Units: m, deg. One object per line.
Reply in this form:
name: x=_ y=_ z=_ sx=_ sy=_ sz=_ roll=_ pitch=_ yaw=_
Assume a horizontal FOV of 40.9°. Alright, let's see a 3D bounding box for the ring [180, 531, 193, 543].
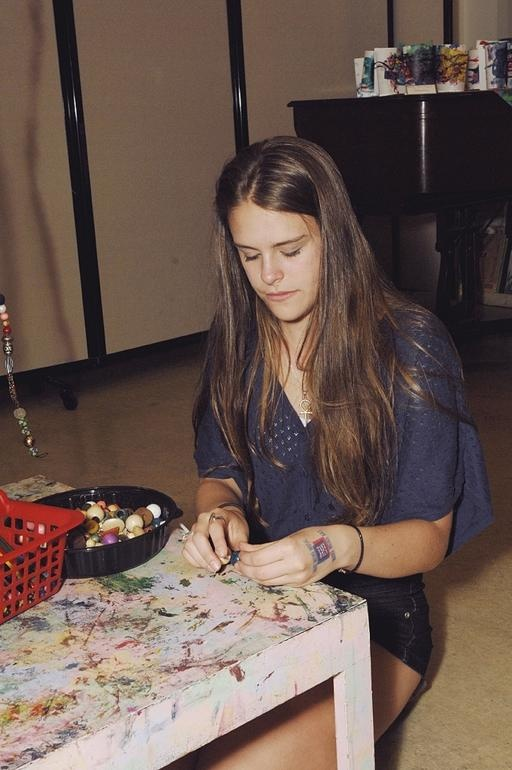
ring: x=-0.090 y=0.196 z=0.879 sx=0.018 sy=0.023 sz=0.009 roll=-2 pitch=-11 yaw=18
